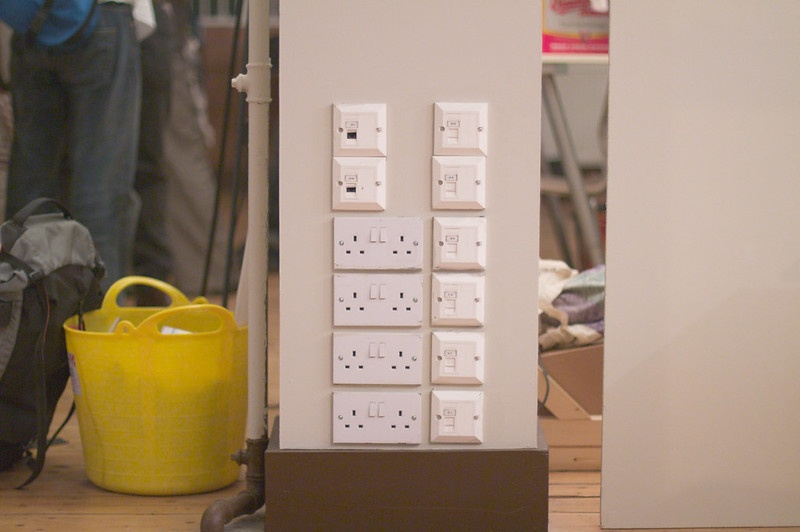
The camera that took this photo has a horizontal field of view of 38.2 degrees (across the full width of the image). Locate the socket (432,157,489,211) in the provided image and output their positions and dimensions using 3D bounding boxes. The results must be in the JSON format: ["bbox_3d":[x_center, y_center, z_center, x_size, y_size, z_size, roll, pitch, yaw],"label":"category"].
[{"bbox_3d":[0.177,-0.250,3.512,0.148,0.157,0.030,0,1,-1],"label":"socket"}]

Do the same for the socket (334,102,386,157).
[{"bbox_3d":[-0.123,-0.412,3.507,0.147,0.156,0.025,0,4,1],"label":"socket"}]

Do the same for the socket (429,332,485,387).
[{"bbox_3d":[0.177,0.282,3.536,0.147,0.153,0.031,0,2,-1],"label":"socket"}]

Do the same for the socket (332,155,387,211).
[{"bbox_3d":[-0.128,-0.254,3.512,0.151,0.161,0.028,0,1,-1],"label":"socket"}]

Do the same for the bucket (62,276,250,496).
[{"bbox_3d":[-0.828,0.431,4.112,0.602,0.678,0.686,-2,6,-44],"label":"bucket"}]

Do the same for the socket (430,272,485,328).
[{"bbox_3d":[0.178,0.100,3.529,0.149,0.155,0.032,0,2,0],"label":"socket"}]

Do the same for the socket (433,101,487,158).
[{"bbox_3d":[0.179,-0.412,3.507,0.160,0.166,0.028,0,4,-7],"label":"socket"}]

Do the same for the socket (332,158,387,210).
[{"bbox_3d":[-0.129,-0.250,3.512,0.142,0.151,0.026,0,6,2],"label":"socket"}]

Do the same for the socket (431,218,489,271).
[{"bbox_3d":[0.182,-0.064,3.530,0.161,0.174,0.031,0,21,0],"label":"socket"}]

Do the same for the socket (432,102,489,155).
[{"bbox_3d":[0.180,-0.415,3.507,0.147,0.152,0.027,0,4,-6],"label":"socket"}]

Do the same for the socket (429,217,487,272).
[{"bbox_3d":[0.181,-0.068,3.520,0.156,0.166,0.034,0,0,0],"label":"socket"}]

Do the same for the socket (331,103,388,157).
[{"bbox_3d":[-0.123,-0.411,3.507,0.150,0.160,0.027,0,0,-2],"label":"socket"}]
